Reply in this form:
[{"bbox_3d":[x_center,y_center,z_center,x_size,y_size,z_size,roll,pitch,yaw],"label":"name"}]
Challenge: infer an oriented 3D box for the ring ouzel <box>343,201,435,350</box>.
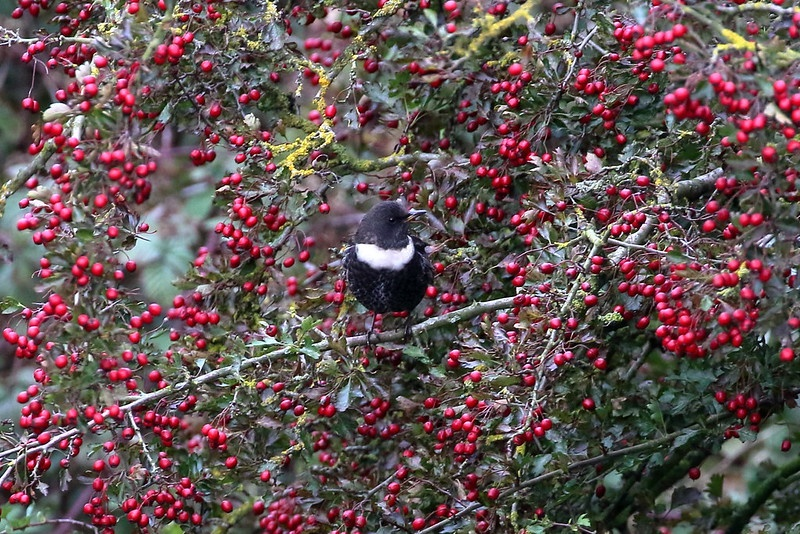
[{"bbox_3d":[-0.067,-0.039,4.879,0.423,0.732,0.740,-2,106,-6],"label":"ring ouzel"}]
